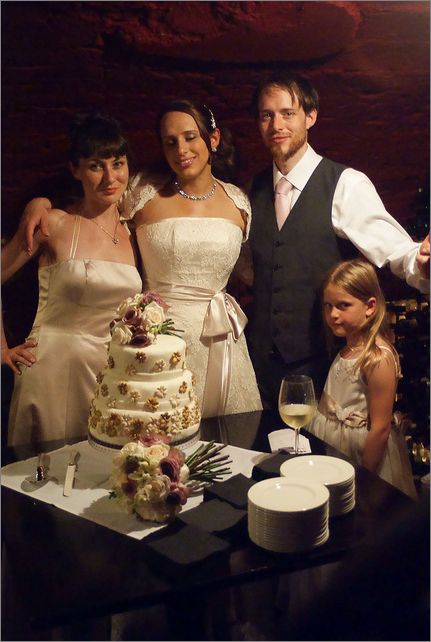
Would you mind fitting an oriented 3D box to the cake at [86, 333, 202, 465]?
[{"bbox_3d":[-0.187,0.170,1.378,0.249,0.192,0.256,0,3,41],"label":"cake"}]

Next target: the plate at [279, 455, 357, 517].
[{"bbox_3d":[0.224,0.336,1.142,0.110,0.041,0.114,-1,10,-1],"label":"plate"}]

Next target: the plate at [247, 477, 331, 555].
[{"bbox_3d":[0.134,0.348,1.010,0.125,0.063,0.118,0,6,8],"label":"plate"}]

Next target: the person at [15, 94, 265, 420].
[{"bbox_3d":[-0.150,-0.097,2.131,0.757,1.405,0.562,-4,25,-14],"label":"person"}]

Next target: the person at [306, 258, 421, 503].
[{"bbox_3d":[0.472,0.263,1.848,0.408,0.921,0.376,2,13,9],"label":"person"}]
